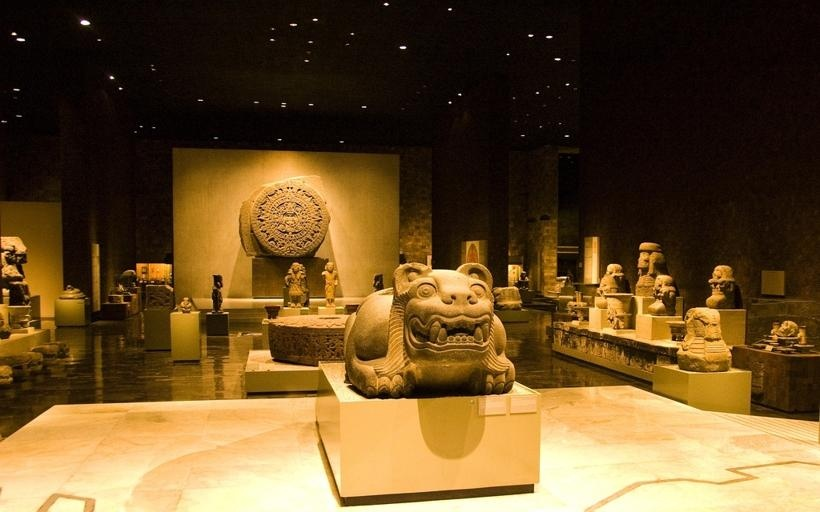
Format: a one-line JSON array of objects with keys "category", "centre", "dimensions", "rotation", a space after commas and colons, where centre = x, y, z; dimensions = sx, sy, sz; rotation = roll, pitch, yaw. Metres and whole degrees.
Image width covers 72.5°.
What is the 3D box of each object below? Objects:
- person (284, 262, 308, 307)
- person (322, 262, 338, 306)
[{"category": "person", "centre": [-2.579, 0.654, 12.579], "dimensions": [0.461, 1.035, 0.458], "rotation": [-2, 9, -9]}, {"category": "person", "centre": [-1.860, 0.627, 12.761], "dimensions": [0.293, 0.959, 0.902], "rotation": [-2, 9, -9]}]
